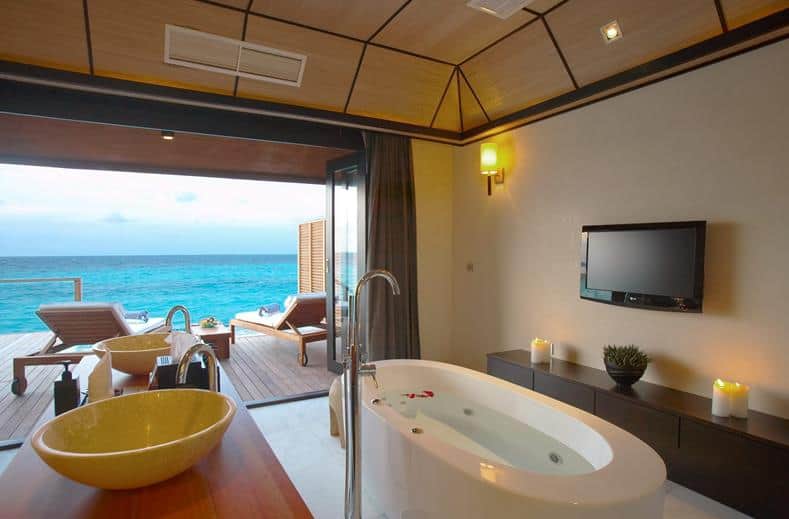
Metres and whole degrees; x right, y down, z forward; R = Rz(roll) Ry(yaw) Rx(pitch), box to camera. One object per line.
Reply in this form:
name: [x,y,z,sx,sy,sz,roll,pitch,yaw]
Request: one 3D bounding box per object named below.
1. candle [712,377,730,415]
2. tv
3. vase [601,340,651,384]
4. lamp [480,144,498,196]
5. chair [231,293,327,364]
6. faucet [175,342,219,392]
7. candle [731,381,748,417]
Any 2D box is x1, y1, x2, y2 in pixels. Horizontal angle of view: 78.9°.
candle: [2.294,0.973,3.369,0.115,0.224,0.126,2,2,11]
tv: [2.048,0.048,3.866,0.061,0.600,0.841,1,0,-33]
vase: [1.883,0.874,3.840,0.299,0.263,0.306,9,-5,38]
lamp: [1.004,-0.956,5.086,0.192,0.523,0.310,2,2,15]
chair: [-1.677,0.811,6.736,1.582,0.827,0.824,7,5,40]
faucet: [-0.995,0.559,2.464,0.149,0.309,0.351,1,2,-5]
candle: [2.394,0.977,3.303,0.115,0.216,0.056,2,2,11]
